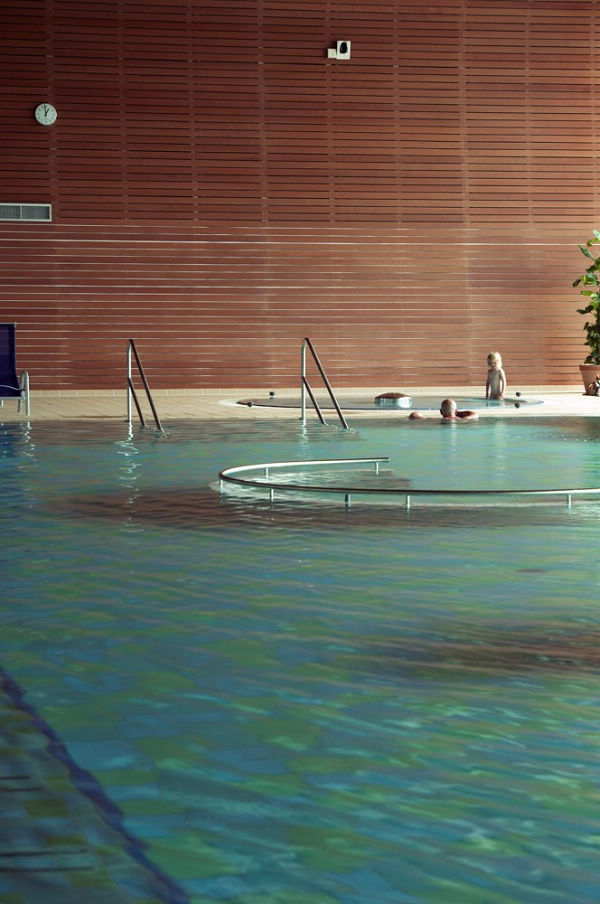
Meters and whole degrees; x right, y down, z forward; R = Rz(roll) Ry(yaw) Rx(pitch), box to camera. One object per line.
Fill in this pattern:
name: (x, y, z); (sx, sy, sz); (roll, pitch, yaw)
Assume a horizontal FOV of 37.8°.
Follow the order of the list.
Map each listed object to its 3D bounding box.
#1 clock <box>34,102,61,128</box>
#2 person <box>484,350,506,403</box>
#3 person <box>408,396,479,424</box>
clock: (-4.109, -5.454, 14.247); (0.383, 0.354, 0.088); (-24, 11, -7)
person: (2.659, -1.002, 11.866); (0.221, 0.690, 1.222); (1, 4, 12)
person: (1.753, -0.492, 10.659); (0.773, 0.272, 1.005); (-2, 5, -29)
